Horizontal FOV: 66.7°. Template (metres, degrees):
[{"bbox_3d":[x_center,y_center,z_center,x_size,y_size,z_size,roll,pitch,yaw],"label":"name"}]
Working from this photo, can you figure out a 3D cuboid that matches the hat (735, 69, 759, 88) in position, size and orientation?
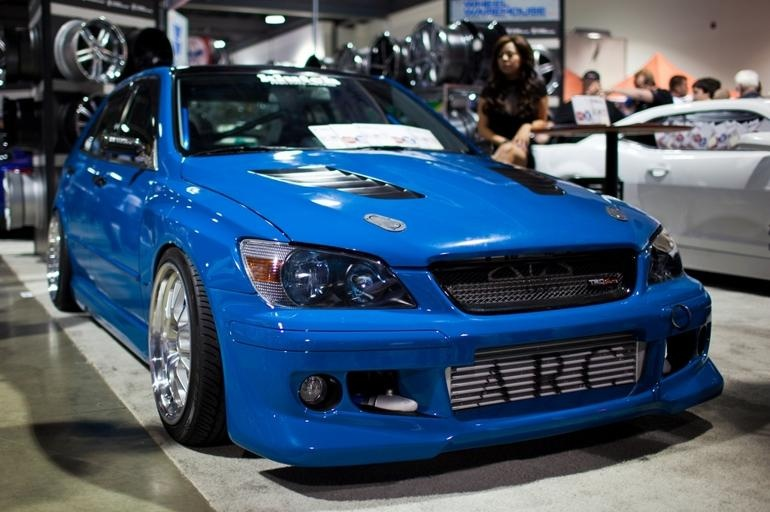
[{"bbox_3d":[4.865,-2.375,7.829,0.253,0.264,0.550,7,13,31],"label":"hat"}]
